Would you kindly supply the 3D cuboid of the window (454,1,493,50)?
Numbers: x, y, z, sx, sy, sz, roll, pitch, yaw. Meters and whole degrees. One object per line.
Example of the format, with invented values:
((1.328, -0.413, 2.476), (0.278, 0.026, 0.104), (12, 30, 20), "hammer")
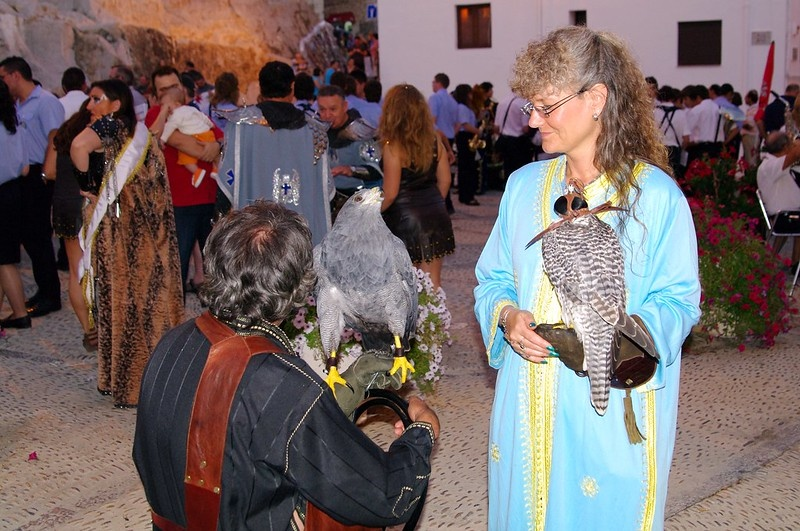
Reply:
((1.844, -5.855, 19.279), (1.066, 1.319, 0.171), (2, 9, 28), "window")

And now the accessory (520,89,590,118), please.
((0.688, -0.715, 3.513), (0.161, 0.048, 0.156), (-31, 16, -12), "accessory")

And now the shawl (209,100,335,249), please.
((-0.896, -0.837, 6.562), (0.937, 1.250, 1.213), (2, 26, -2), "shawl")

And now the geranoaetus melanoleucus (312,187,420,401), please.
((-0.165, 0.140, 4.647), (0.589, 1.122, 0.899), (1, 23, 3), "geranoaetus melanoleucus")

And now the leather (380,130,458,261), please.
((0.178, -0.531, 6.752), (0.538, 1.068, 0.598), (4, 21, -3), "leather")
